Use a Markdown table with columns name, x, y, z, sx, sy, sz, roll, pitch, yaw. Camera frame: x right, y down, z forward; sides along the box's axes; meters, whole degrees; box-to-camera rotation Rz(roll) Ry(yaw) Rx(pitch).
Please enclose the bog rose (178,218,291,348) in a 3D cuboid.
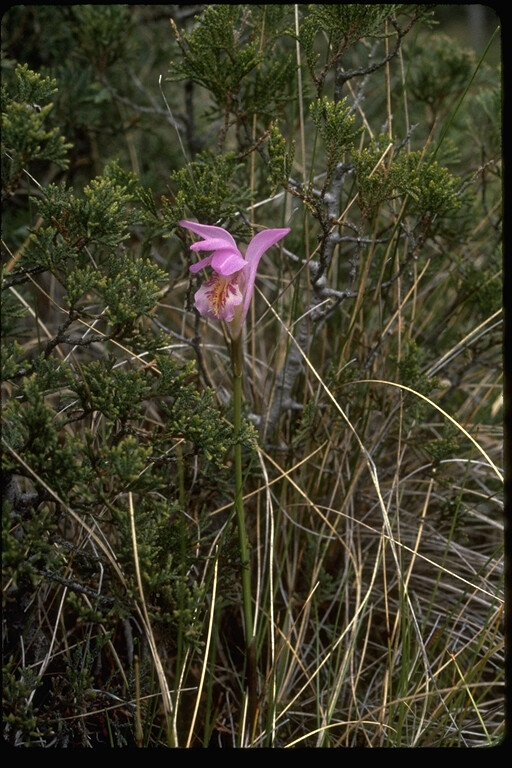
| name | x | y | z | sx | sy | sz | roll | pitch | yaw |
| --- | --- | --- | --- | --- | --- | --- | --- | --- | --- |
| bog rose | -0.055 | -0.209 | 1.522 | 0.189 | 0.264 | 0.161 | 30 | 48 | 32 |
